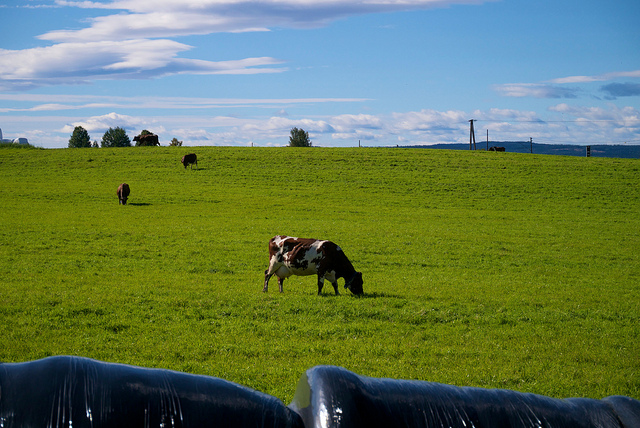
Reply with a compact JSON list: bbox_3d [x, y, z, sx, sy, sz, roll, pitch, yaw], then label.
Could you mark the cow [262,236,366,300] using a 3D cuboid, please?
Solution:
[{"bbox_3d":[-0.312,2.274,34.451,6.156,3.256,2.035,1,-1,7],"label":"cow"}]
